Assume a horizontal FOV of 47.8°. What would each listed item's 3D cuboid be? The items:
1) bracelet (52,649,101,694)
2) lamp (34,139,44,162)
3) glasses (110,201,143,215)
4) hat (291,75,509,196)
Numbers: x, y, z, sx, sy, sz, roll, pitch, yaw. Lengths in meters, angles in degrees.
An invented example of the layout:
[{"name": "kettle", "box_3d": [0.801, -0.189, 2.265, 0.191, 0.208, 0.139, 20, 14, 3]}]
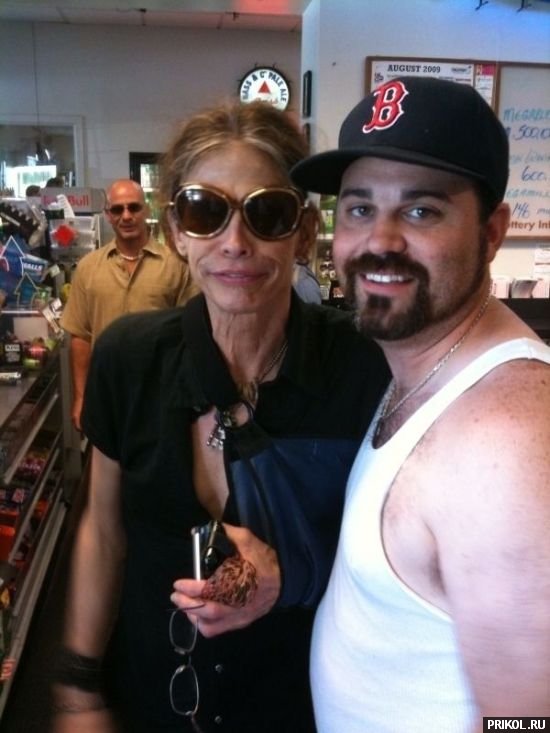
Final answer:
[{"name": "bracelet", "box_3d": [-0.391, 0.616, 1.247, 0.076, 0.054, 0.075, 1, -28, 44]}, {"name": "lamp", "box_3d": [-2.741, -2.504, 7.233, 0.095, 0.234, 0.245, -6, 17, -19]}, {"name": "glasses", "box_3d": [-0.989, -1.042, 4.103, 0.120, 0.036, 0.118, -4, -2, -8]}, {"name": "hat", "box_3d": [0.193, -0.334, 0.916, 0.279, 0.130, 0.205, 11, 6, -16]}]
